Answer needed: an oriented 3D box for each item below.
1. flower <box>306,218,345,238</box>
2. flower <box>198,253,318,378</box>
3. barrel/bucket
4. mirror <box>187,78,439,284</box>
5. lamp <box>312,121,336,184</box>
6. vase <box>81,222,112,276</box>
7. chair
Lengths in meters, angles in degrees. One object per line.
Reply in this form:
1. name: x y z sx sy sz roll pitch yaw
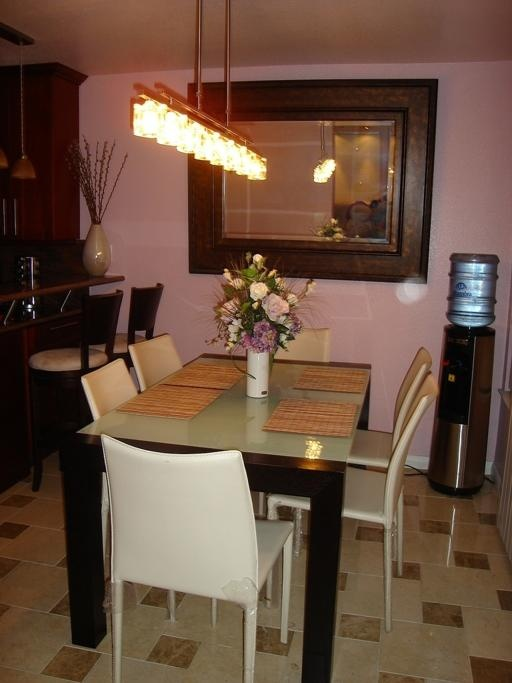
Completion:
1. flower: 0.454 -0.680 3.428 0.125 0.117 0.128 25 12 15
2. flower: 0.037 -0.104 2.092 0.309 0.392 0.318 1 5 -44
3. barrel/bucket: 1.208 -0.279 3.063 0.249 0.415 0.250 2 3 0
4. mirror: 0.406 -0.973 3.230 1.315 1.129 0.066 6 18 22
5. lamp: 0.414 -1.166 3.339 0.103 0.410 0.175 -3 29 -2
6. vase: -1.095 -0.629 3.773 0.192 0.362 0.197 -1 -6 -10
7. chair: 0.014 0.545 1.985 0.973 0.726 1.013 5 14 18
